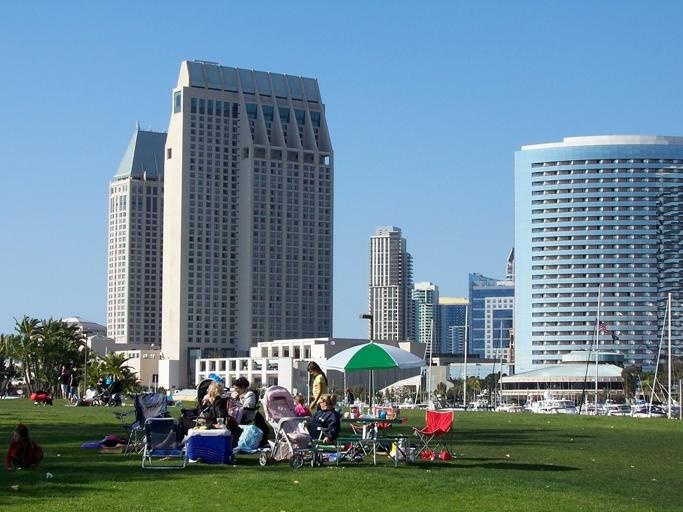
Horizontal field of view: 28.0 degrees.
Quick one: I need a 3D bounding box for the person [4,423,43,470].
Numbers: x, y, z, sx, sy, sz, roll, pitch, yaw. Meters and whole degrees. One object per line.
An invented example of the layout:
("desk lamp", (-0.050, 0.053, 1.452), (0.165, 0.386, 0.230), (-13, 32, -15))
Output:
("person", (-13.676, 8.226, 58.928), (1.513, 1.951, 0.647), (1, -9, -14))
